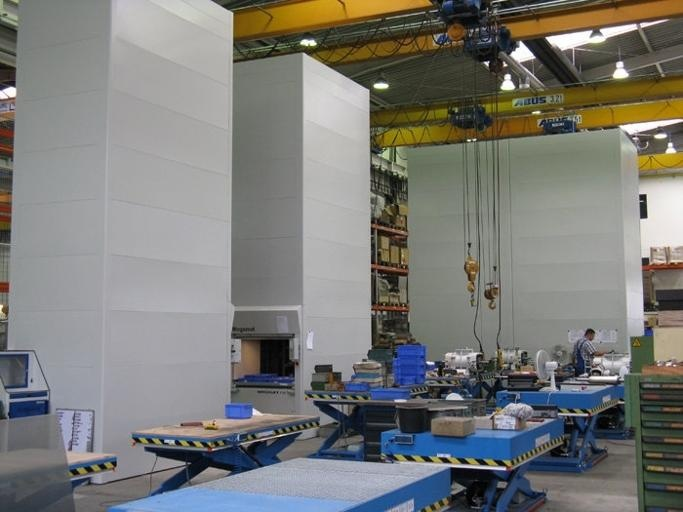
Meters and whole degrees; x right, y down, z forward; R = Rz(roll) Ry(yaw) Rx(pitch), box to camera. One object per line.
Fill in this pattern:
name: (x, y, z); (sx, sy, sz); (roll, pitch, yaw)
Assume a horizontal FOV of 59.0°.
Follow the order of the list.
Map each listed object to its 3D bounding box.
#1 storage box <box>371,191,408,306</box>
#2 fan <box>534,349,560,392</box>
storage box: (1.360, -0.028, 16.254); (0.815, 2.821, 2.218); (-4, -8, 15)
fan: (2.269, 1.234, 6.567); (0.332, 0.412, 0.232); (4, -3, -41)
